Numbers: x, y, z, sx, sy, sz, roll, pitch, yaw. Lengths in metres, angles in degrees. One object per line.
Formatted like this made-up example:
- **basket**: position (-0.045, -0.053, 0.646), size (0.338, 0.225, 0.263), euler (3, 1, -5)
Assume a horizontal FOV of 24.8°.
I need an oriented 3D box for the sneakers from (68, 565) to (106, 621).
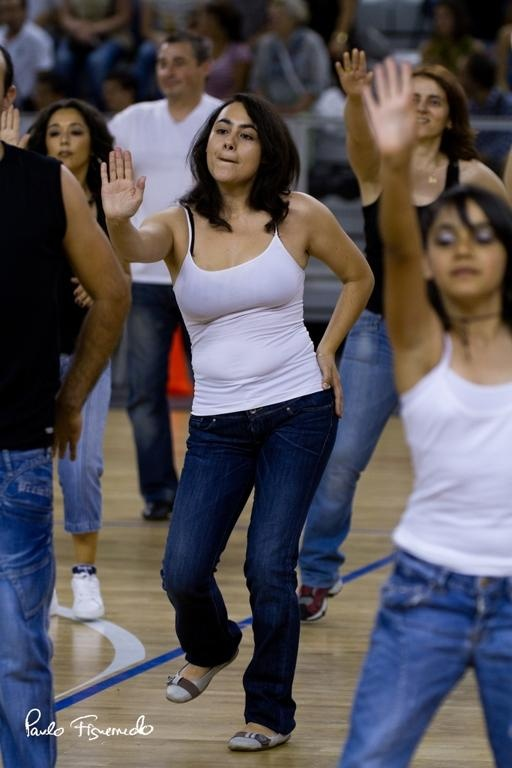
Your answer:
- **sneakers**: position (-0.579, 0.723, 3.956), size (0.080, 0.090, 0.225), euler (-1, 5, -7)
